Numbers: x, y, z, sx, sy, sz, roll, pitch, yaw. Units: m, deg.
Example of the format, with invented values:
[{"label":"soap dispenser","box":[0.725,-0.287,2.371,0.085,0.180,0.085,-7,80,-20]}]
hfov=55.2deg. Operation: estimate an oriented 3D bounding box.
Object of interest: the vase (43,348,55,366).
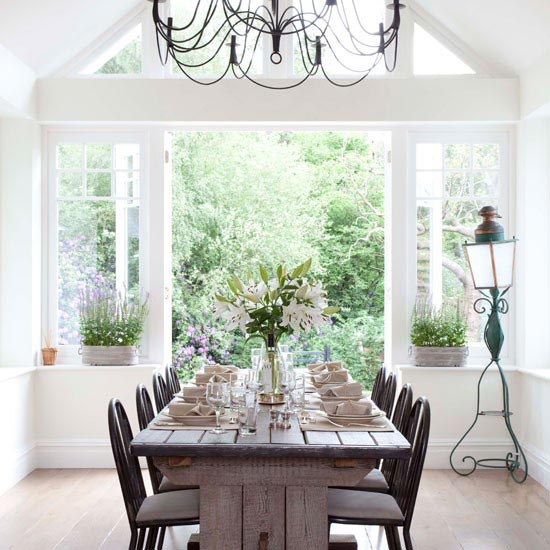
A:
[{"label":"vase","box":[-1.763,0.641,4.118,0.123,0.133,0.123,1,-9,-6]}]

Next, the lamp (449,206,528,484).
[{"label":"lamp","box":[1.614,0.481,3.953,0.544,2.003,0.661,1,4,26]}]

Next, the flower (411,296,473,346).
[{"label":"flower","box":[1.259,0.427,4.207,0.514,0.529,0.325,2,-9,-4]}]

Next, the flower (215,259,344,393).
[{"label":"flower","box":[0.005,0.217,2.762,0.739,0.799,0.603,0,-9,-2]}]

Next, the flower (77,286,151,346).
[{"label":"flower","box":[-1.261,0.352,4.087,0.434,0.316,0.481,1,29,-10]}]

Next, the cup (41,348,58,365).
[{"label":"cup","box":[-1.767,0.644,4.119,0.130,0.141,0.126,0,-10,0]}]
